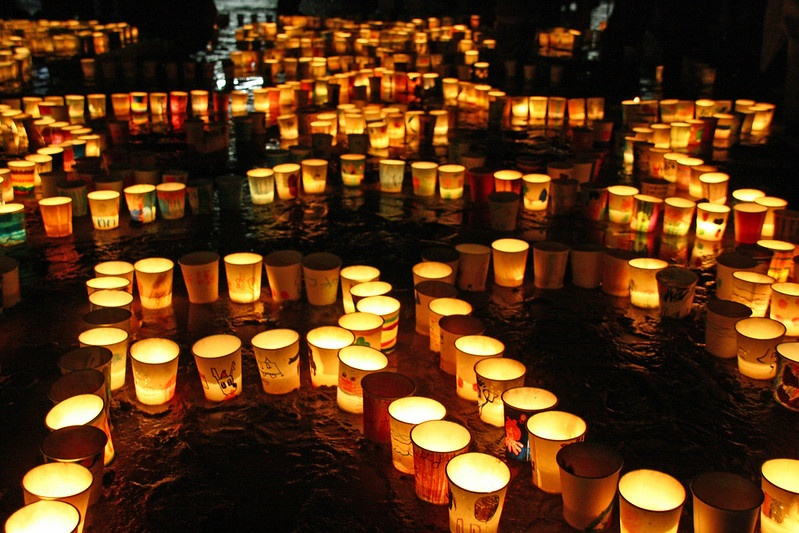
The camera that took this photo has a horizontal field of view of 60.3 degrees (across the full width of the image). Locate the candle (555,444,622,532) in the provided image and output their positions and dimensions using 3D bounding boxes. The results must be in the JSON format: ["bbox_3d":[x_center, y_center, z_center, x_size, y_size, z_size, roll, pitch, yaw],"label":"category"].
[{"bbox_3d":[0.799,0.947,2.943,0.271,0.332,0.212,7,27,15],"label":"candle"}]
